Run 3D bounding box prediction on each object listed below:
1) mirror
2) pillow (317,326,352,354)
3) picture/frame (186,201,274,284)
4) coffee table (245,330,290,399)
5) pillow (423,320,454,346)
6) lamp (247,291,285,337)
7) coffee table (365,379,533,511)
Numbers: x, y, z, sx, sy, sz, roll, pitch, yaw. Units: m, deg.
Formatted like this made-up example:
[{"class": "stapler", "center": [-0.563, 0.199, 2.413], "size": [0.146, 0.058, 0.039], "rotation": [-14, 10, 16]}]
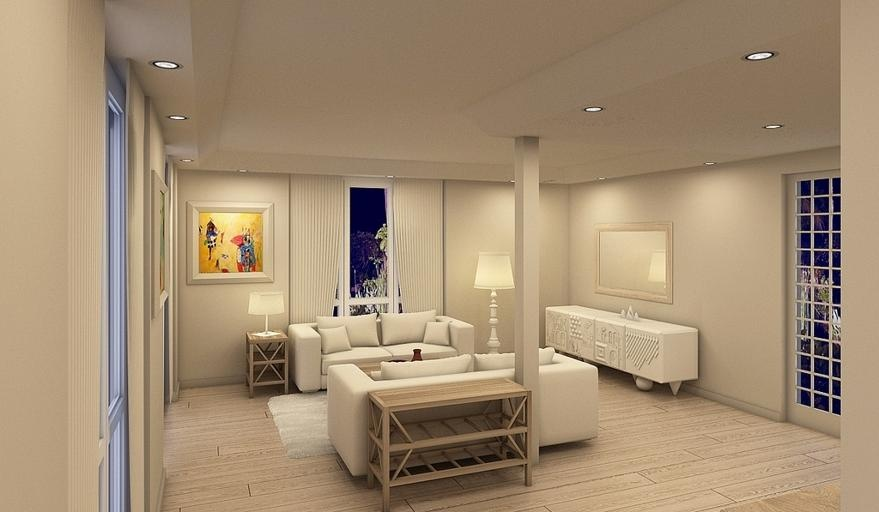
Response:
[{"class": "mirror", "center": [2.797, 0.088, 7.902], "size": [0.065, 1.040, 1.336], "rotation": [-2, 3, -31]}, {"class": "pillow", "center": [-1.411, 1.107, 7.286], "size": [0.338, 0.249, 0.153], "rotation": [-1, -34, -30]}, {"class": "picture/frame", "center": [-2.853, -0.195, 7.489], "size": [0.057, 0.974, 1.083], "rotation": [2, 2, 41]}, {"class": "coffee table", "center": [-2.289, 1.389, 7.315], "size": [0.516, 0.663, 0.538], "rotation": [0, 3, -23]}, {"class": "pillow", "center": [-0.024, 1.090, 7.803], "size": [0.351, 0.299, 0.119], "rotation": [-1, -25, 7]}, {"class": "lamp", "center": [-2.280, 0.760, 7.268], "size": [0.535, 0.506, 0.497], "rotation": [-1, -3, 2]}, {"class": "coffee table", "center": [0.113, 1.554, 4.785], "size": [1.430, 0.833, 0.593], "rotation": [-2, 7, -20]}]
